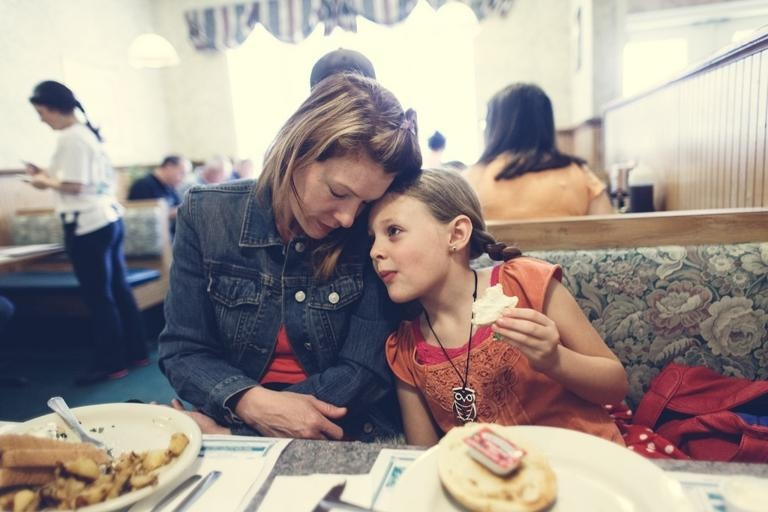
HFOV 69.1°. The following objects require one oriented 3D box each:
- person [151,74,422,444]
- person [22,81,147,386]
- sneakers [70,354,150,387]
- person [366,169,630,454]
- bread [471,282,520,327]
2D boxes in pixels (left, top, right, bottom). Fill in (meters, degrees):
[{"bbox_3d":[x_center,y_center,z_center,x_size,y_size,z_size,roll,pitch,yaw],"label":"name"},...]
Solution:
[{"bbox_3d":[-0.432,0.017,2.539,1.055,1.437,1.006,7,9,-19],"label":"person"},{"bbox_3d":[-1.900,-0.077,3.582,0.453,1.955,0.469,-14,16,-26],"label":"person"},{"bbox_3d":[-1.935,0.832,3.950,0.447,0.153,0.141,2,-4,-20],"label":"sneakers"},{"bbox_3d":[0.461,0.213,2.337,0.964,1.160,0.416,-1,15,23],"label":"person"},{"bbox_3d":[0.446,0.200,2.260,0.190,0.143,0.102,-6,13,3],"label":"bread"}]
